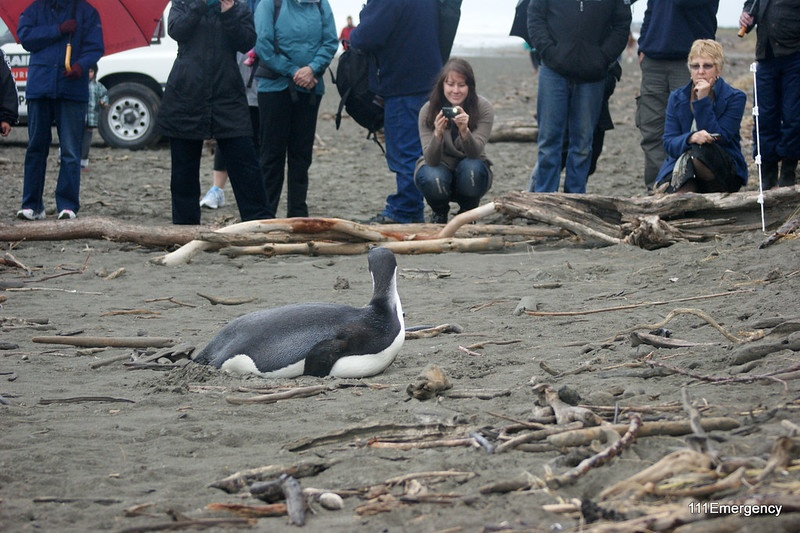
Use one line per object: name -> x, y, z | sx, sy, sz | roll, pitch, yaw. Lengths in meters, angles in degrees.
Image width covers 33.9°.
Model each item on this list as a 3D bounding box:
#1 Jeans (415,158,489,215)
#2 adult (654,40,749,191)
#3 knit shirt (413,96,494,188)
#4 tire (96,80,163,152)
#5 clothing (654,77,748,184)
Jeans -> 0.563, -1.104, 16.889 | 0.760, 0.515, 0.824 | 2, -28, -28
adult -> 3.572, -1.792, 15.711 | 1.036, 1.817, 0.670 | 2, 7, 17
knit shirt -> 0.674, -1.639, 16.729 | 1.079, 0.982, 1.078 | -1, -4, 12
tire -> -4.301, -2.437, 20.827 | 1.475, 1.226, 0.453 | 6, 30, -7
clothing -> 3.547, -1.628, 15.824 | 1.214, 1.149, 0.943 | 0, 26, -7
